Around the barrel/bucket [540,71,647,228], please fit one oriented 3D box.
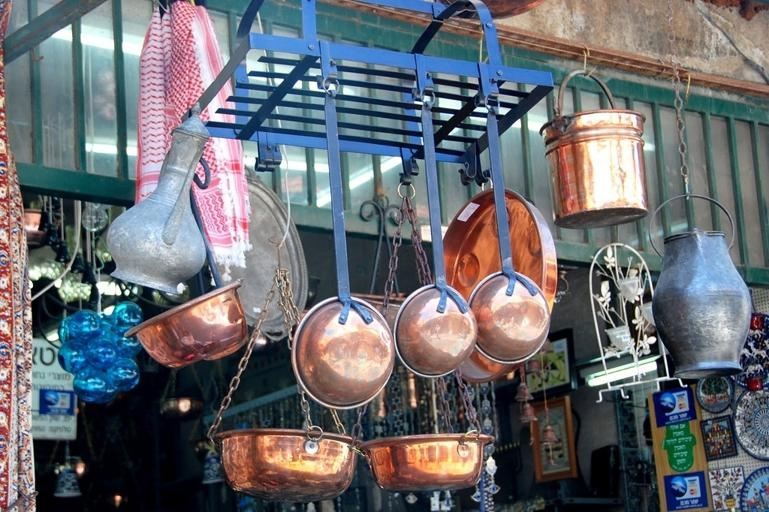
[{"bbox_3d":[1.158,-0.614,9.413,0.575,0.891,0.552,-4,-16,-1],"label":"barrel/bucket"}]
